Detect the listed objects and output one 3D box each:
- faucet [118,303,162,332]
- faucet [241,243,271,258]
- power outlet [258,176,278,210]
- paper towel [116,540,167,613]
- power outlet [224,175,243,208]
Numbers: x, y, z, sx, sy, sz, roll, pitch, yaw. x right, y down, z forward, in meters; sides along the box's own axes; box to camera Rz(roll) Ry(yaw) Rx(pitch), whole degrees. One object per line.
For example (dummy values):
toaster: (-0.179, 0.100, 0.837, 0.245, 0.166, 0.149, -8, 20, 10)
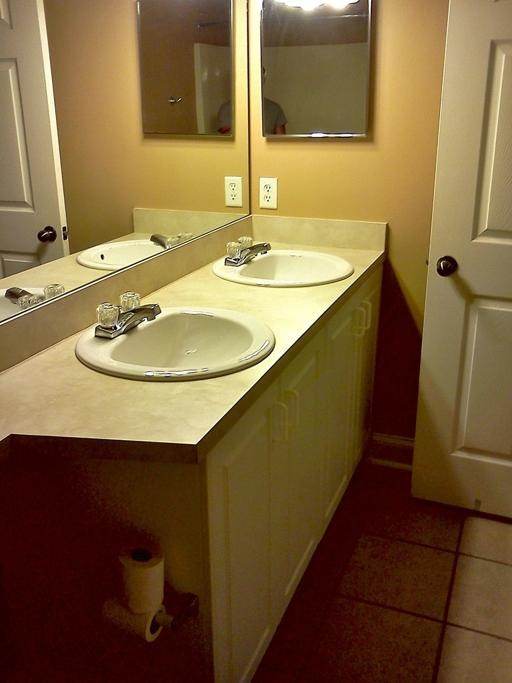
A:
faucet: (-0.258, -0.066, 1.192, 0.032, 0.039, 0.148, 10, 24, 15)
faucet: (0.005, -0.336, 1.881, 0.041, 0.048, 0.183, 13, 26, 23)
power outlet: (0.049, -0.611, 2.145, 0.110, 0.180, 0.014, 5, 22, 16)
paper towel: (-0.180, 0.386, 0.887, 0.085, 0.104, 0.091, 2, 22, 3)
power outlet: (-0.093, -0.588, 2.050, 0.011, 0.143, 0.103, 10, 23, 29)
